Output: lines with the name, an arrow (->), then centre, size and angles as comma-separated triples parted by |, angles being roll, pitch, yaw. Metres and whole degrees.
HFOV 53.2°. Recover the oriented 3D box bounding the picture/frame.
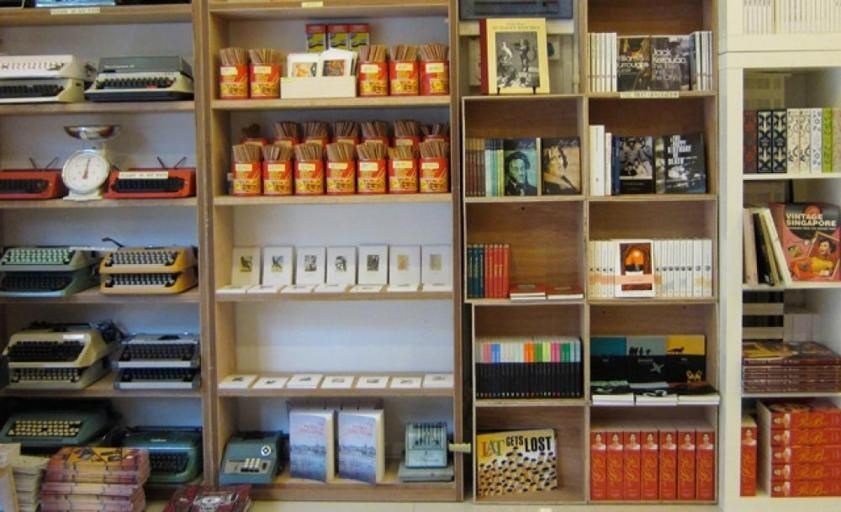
picture/frame -> 0.648, -1.395, 5.888 | 0.450, 0.528, 0.183 | -3, 11, 3
